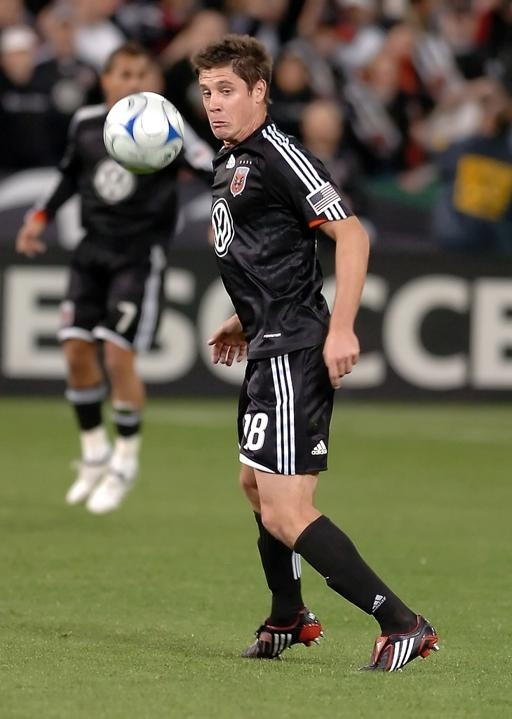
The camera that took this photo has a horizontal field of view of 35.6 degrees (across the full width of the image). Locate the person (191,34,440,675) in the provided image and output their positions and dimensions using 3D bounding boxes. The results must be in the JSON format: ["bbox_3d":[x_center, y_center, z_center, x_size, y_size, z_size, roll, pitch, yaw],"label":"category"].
[{"bbox_3d":[0.116,-0.034,2.068,0.404,1.473,1.018,-10,29,-1],"label":"person"}]

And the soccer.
[{"bbox_3d":[-0.427,-0.878,3.109,0.271,0.296,0.375,-7,28,1],"label":"soccer"}]
